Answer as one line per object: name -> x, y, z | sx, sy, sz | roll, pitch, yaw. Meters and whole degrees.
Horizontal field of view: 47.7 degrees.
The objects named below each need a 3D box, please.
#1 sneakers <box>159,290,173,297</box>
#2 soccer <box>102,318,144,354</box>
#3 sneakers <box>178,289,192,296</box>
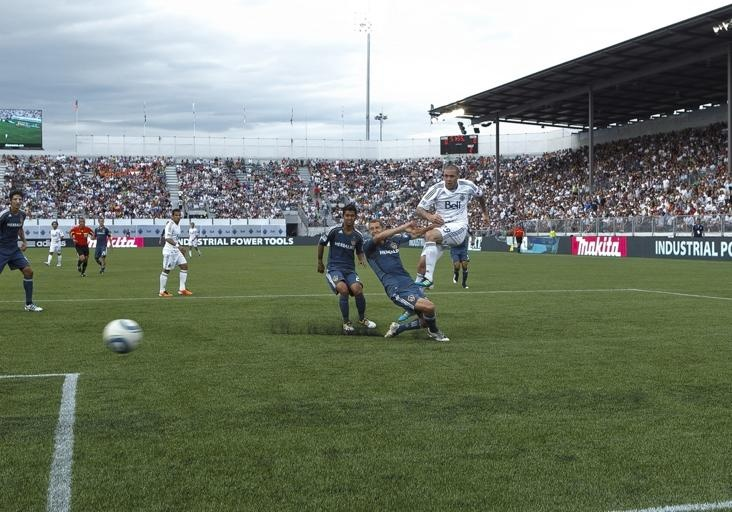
sneakers -> -4.135, 0.772, 17.058 | 0.230, 0.093, 0.131 | 0, 0, 23
soccer -> -2.743, 0.922, 9.411 | 0.412, 0.380, 0.387 | 11, -27, -38
sneakers -> -3.808, 0.765, 17.443 | 0.369, 0.150, 0.146 | -2, 4, 14
